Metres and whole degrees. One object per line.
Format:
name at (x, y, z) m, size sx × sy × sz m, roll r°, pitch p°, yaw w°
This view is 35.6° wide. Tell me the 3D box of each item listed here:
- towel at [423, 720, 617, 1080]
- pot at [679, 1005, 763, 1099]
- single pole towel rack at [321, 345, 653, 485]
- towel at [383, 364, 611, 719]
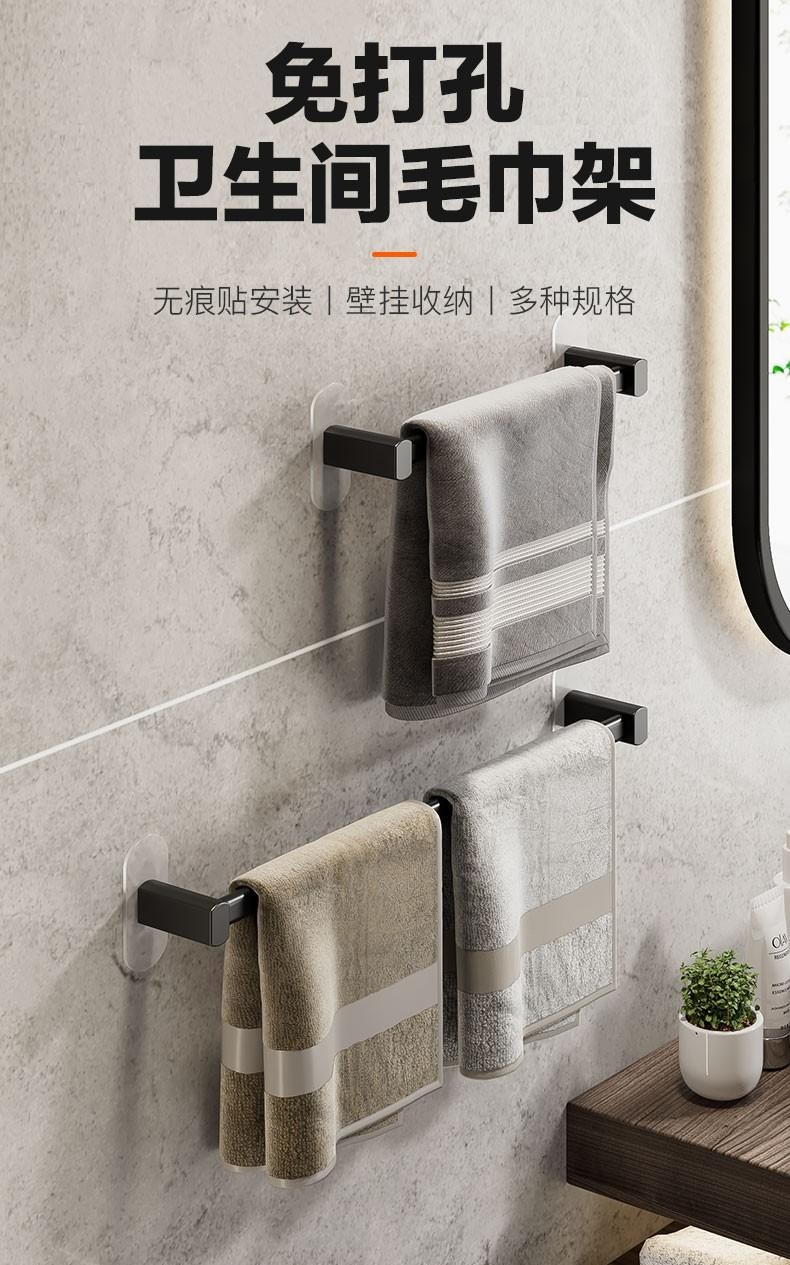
towel at (0.099, 0.206, 1.005) m, size 0.074 × 0.316 × 0.243 m, roll 6°, pitch 14°, yaw 35°
pot at (0.320, 0.419, 1.204) m, size 0.073 × 0.089 × 0.082 m, roll -2°, pitch 4°, yaw -3°
single pole towel rack at (0.075, -0.174, 0.939) m, size 0.091 × 0.115 × 0.330 m, roll 2°, pitch 7°, yaw 40°
towel at (0.087, -0.076, 0.920) m, size 0.211 × 0.233 × 0.053 m, roll -20°, pitch 25°, yaw -35°
